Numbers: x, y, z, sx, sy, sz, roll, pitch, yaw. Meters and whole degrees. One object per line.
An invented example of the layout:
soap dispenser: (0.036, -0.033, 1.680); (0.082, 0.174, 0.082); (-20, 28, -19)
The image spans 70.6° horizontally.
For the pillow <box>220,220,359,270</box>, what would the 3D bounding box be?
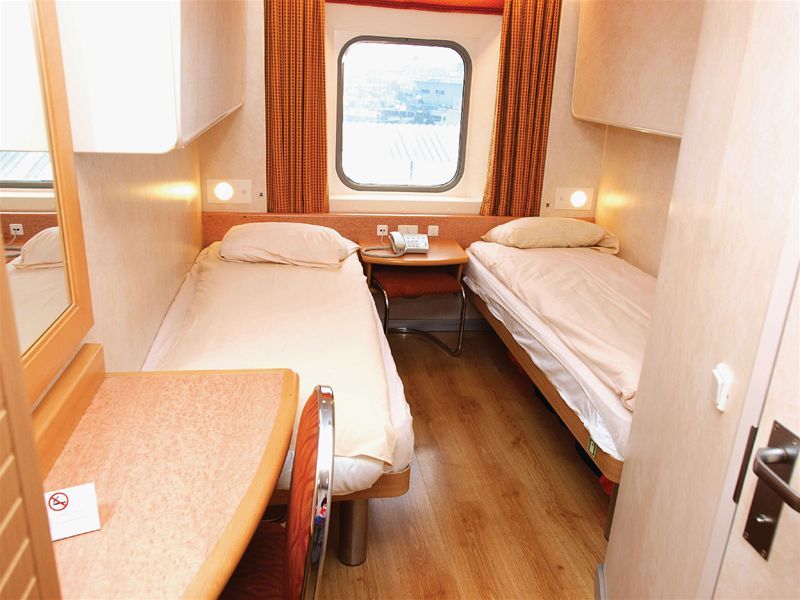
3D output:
pillow: (-0.680, -0.319, 3.367); (0.445, 0.133, 0.419); (1, 25, -10)

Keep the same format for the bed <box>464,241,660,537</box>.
bed: (0.755, 0.427, 2.665); (0.575, 0.446, 1.259); (-3, 31, -4)

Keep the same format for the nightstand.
nightstand: (0.100, 0.022, 3.943); (0.727, 0.748, 0.763); (-2, 31, -8)
